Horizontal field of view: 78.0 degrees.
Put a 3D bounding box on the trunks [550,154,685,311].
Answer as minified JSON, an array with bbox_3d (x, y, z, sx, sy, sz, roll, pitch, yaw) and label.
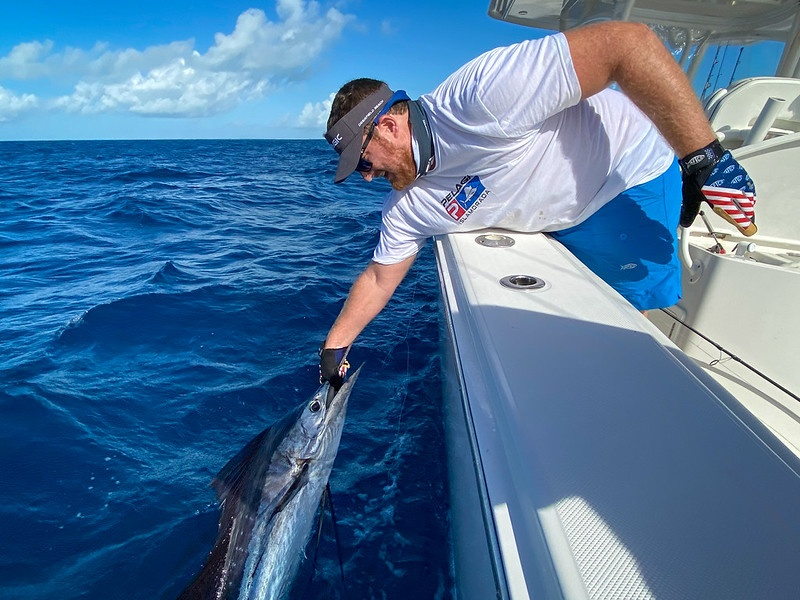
[{"bbox_3d":[1.057,-0.339,2.326,0.605,0.579,0.380,-24,39,46],"label":"trunks"}]

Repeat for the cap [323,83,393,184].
[{"bbox_3d":[-0.171,-0.756,2.248,0.363,0.382,0.187,-12,27,3],"label":"cap"}]
